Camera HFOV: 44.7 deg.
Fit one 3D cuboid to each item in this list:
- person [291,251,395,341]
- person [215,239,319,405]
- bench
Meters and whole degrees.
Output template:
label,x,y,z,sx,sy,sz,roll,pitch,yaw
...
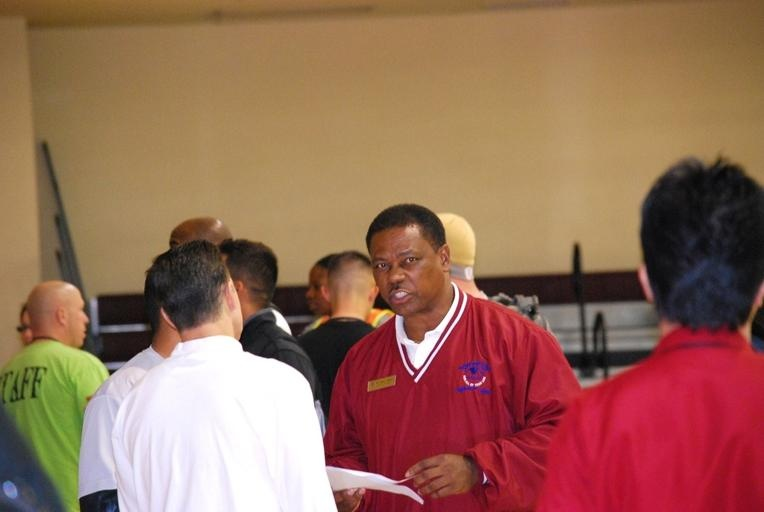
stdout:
label,x,y,z,sx,sy,sz,roll,pitch,yaw
person,-0.299,0.266,6.499,0.886,0.691,0.530,-4,1,6
person,-0.639,0.380,5.115,0.491,0.837,1.006,-9,-14,7
bench,0.092,0.431,5.394,2.360,0.301,0.577,-3,-20,9
